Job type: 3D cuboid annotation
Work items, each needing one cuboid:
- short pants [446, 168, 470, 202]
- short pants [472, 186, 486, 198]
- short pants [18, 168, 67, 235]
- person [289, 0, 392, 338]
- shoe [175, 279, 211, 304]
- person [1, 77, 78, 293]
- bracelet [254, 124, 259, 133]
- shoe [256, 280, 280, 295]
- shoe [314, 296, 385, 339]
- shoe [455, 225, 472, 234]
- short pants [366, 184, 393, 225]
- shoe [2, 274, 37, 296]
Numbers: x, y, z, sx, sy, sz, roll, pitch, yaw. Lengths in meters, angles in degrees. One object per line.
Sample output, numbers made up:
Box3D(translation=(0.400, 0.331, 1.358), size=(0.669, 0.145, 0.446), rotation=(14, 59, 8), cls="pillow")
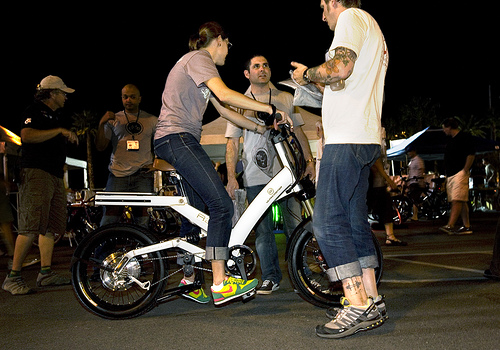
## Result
Box3D(translation=(5.018, 0.255, 9.629), size=(0.491, 0.787, 0.357), rotation=(0, -2, 29), cls="short pants")
Box3D(translation=(10.626, 0.908, 18.468), size=(0.550, 0.317, 0.449), rotation=(-1, -3, 30), cls="short pants")
Box3D(translation=(-2.907, 0.376, 5.600), size=(0.592, 0.935, 0.448), rotation=(2, -2, -30), cls="short pants")
Box3D(translation=(0.915, -0.034, 3.666), size=(0.755, 2.948, 0.462), rotation=(1, -2, -21), cls="person")
Box3D(translation=(-0.585, 1.317, 4.468), size=(0.387, 0.181, 0.135), rotation=(12, 2, 31), cls="shoe")
Box3D(translation=(-2.964, 0.073, 5.591), size=(0.634, 3.041, 0.845), rotation=(-1, -3, 44), cls="person")
Box3D(translation=(0.069, -0.523, 4.420), size=(0.058, 0.070, 0.012), rotation=(0, -2, 25), cls="bracelet")
Box3D(translation=(0.208, 1.397, 4.924), size=(0.111, 0.124, 0.300), rotation=(-8, -14, 35), cls="shoe")
Box3D(translation=(0.896, 1.291, 3.712), size=(0.733, 0.405, 0.246), rotation=(-7, -3, -7), cls="shoe")
Box3D(translation=(5.217, 1.359, 9.720), size=(0.411, 0.174, 0.165), rotation=(1, -4, -2), cls="shoe")
Box3D(translation=(2.739, 0.617, 8.416), size=(0.478, 0.853, 0.584), rotation=(0, -2, 20), cls="short pants")
Box3D(translation=(-3.050, 1.452, 5.245), size=(0.453, 0.249, 0.202), rotation=(1, -2, 5), cls="shoe")
